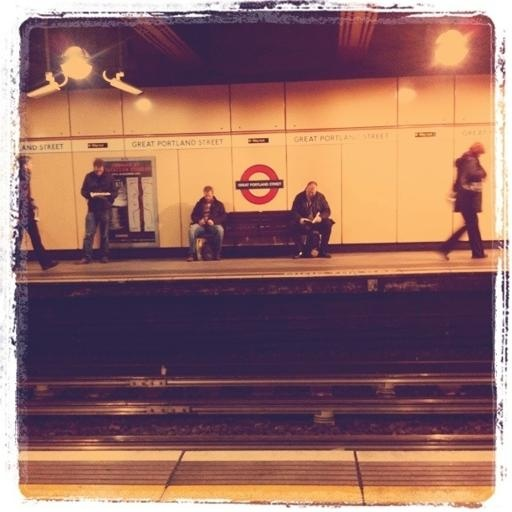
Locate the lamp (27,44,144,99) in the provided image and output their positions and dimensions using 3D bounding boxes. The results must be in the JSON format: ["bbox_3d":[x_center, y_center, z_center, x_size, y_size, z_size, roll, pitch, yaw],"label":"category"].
[{"bbox_3d":[-2.555,-2.688,12.158,1.524,0.682,1.515,-5,1,-1],"label":"lamp"}]

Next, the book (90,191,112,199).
[{"bbox_3d":[-2.342,-0.934,12.566,0.304,0.088,0.056,1,5,-1],"label":"book"}]

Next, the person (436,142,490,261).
[{"bbox_3d":[3.038,-0.825,12.185,0.605,1.636,1.215,2,5,10],"label":"person"}]

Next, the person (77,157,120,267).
[{"bbox_3d":[-2.380,-0.685,12.590,0.399,1.547,0.424,5,6,41],"label":"person"}]

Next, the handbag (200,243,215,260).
[{"bbox_3d":[-0.736,-0.087,12.511,0.146,0.144,0.250,-10,41,-1],"label":"handbag"}]

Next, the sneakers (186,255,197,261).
[{"bbox_3d":[-0.967,0.024,12.544,0.059,0.076,0.175,-4,-9,26],"label":"sneakers"}]
